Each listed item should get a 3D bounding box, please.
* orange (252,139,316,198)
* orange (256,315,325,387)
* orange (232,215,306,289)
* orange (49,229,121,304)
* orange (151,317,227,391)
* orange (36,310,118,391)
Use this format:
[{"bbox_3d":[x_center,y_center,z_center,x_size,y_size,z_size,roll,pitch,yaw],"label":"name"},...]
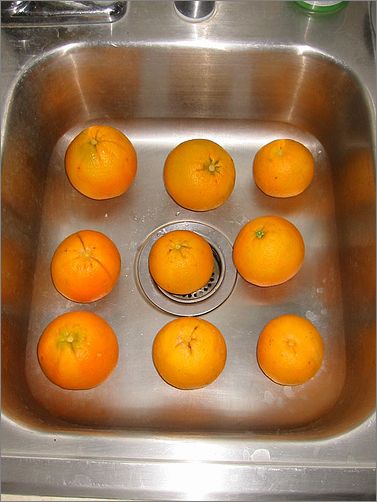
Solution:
[{"bbox_3d":[0.130,-0.111,0.631,0.078,0.078,0.079,15,92,9],"label":"orange"},{"bbox_3d":[0.120,0.113,0.555,0.080,0.075,0.080,0,81,11],"label":"orange"},{"bbox_3d":[0.106,0.010,0.598,0.085,0.082,0.086,-2,76,18],"label":"orange"},{"bbox_3d":[-0.128,0.020,0.599,0.082,0.085,0.081,9,106,-24],"label":"orange"},{"bbox_3d":[0.003,0.123,0.586,0.084,0.077,0.082,14,75,4],"label":"orange"},{"bbox_3d":[-0.118,0.111,0.547,0.091,0.085,0.091,7,77,-6],"label":"orange"}]
